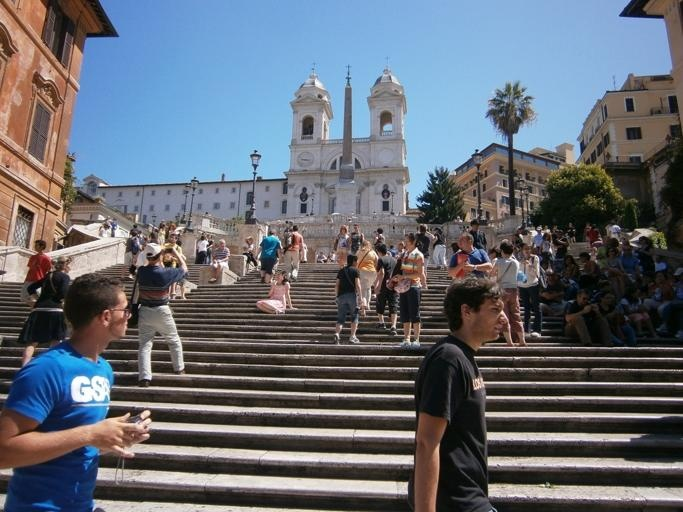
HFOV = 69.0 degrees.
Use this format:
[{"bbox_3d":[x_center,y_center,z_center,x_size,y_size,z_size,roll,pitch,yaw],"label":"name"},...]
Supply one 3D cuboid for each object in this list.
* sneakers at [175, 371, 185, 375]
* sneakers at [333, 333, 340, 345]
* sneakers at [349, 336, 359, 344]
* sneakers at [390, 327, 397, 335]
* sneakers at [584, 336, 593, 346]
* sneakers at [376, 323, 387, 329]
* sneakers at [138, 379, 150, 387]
[{"bbox_3d":[-2.402,1.741,7.435,0.135,0.095,0.049,1,-14,5],"label":"sneakers"},{"bbox_3d":[-0.089,1.476,8.782,0.068,0.208,0.089,-3,20,5],"label":"sneakers"},{"bbox_3d":[0.238,1.498,8.908,0.178,0.130,0.354,0,-10,3],"label":"sneakers"},{"bbox_3d":[0.978,1.391,9.304,0.126,0.139,0.275,-1,-10,8],"label":"sneakers"},{"bbox_3d":[4.270,1.458,8.560,0.109,0.157,0.311,-9,-14,42],"label":"sneakers"},{"bbox_3d":[0.803,1.373,9.856,0.074,0.087,0.200,1,-3,-17],"label":"sneakers"},{"bbox_3d":[-2.776,1.787,7.001,0.139,0.097,0.084,-3,2,-32],"label":"sneakers"}]
